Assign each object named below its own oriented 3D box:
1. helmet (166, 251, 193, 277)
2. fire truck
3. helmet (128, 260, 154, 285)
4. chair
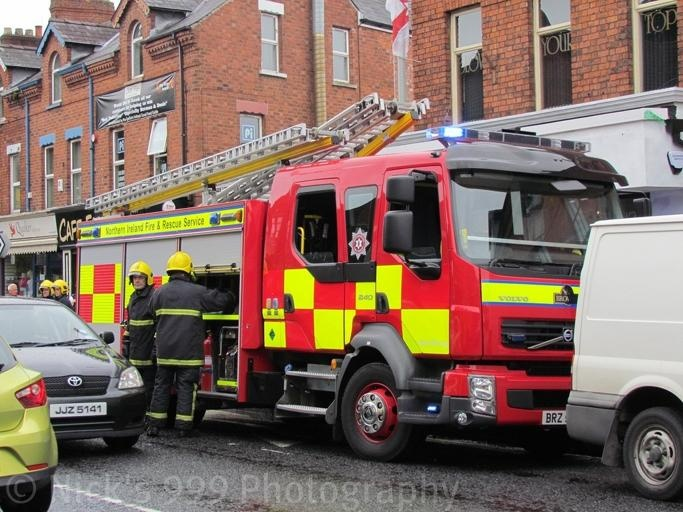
[{"bbox_3d":[-2.209,0.106,11.563,0.253,0.238,0.367,0,-14,3],"label":"helmet"},{"bbox_3d":[-0.665,0.124,12.444,3.165,4.446,9.273,1,-3,-42],"label":"fire truck"},{"bbox_3d":[-2.927,0.233,12.236,0.292,0.317,0.357,0,5,10],"label":"helmet"},{"bbox_3d":[1.031,-0.182,9.120,1.751,0.601,0.845,0,-3,11],"label":"chair"}]
